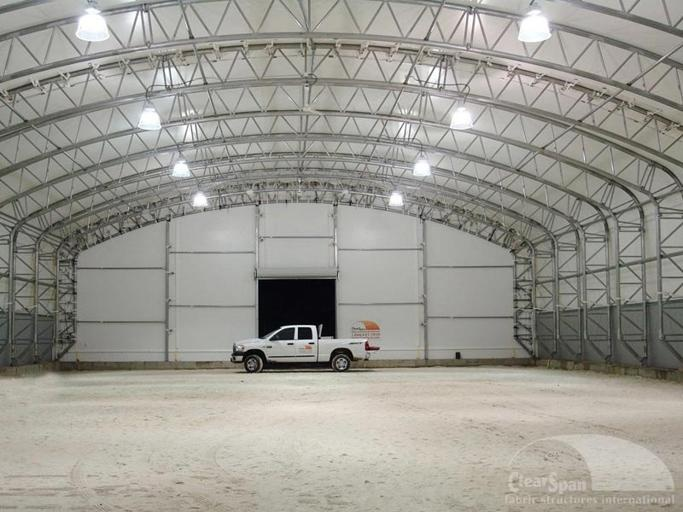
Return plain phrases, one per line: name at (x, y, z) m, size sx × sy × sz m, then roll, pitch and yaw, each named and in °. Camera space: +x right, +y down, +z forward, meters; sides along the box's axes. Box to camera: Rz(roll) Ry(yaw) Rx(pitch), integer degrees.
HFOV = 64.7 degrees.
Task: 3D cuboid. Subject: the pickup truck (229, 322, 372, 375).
pickup truck at (-1.892, 4.563, 26.192) m, size 6.287 × 2.047 × 2.661 m, roll 2°, pitch -9°, yaw -3°
